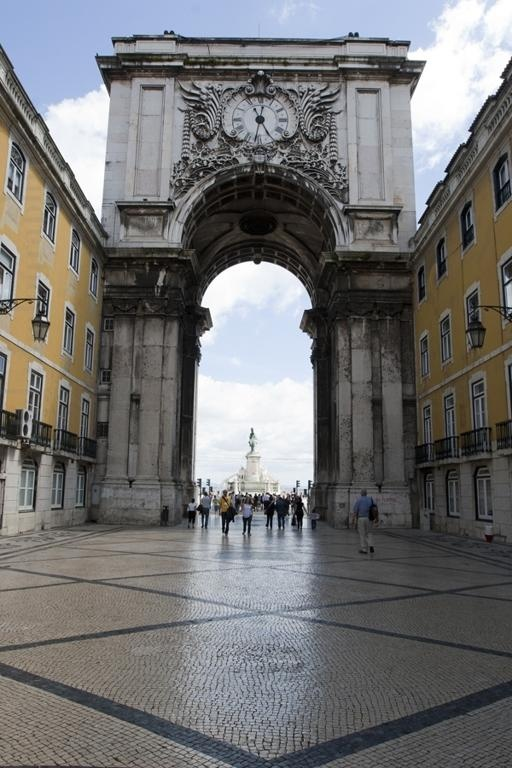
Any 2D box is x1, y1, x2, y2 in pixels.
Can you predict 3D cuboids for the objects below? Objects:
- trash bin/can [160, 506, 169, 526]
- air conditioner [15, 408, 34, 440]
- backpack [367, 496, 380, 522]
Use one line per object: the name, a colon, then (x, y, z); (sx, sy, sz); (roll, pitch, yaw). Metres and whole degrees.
trash bin/can: (-4.805, 7.026, 29.516); (0.353, 1.021, 0.373); (3, -9, -13)
air conditioner: (-8.343, 1.482, 20.152); (0.390, 1.372, 1.011); (-1, -8, -3)
backpack: (3.468, 3.792, 16.529); (0.218, 0.742, 0.961); (-2, -9, 17)
